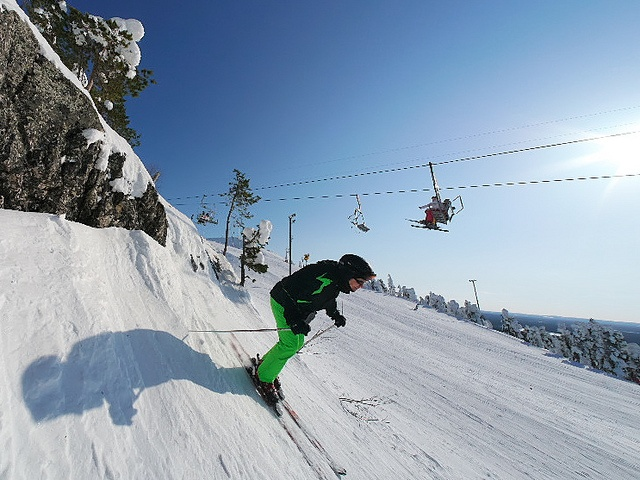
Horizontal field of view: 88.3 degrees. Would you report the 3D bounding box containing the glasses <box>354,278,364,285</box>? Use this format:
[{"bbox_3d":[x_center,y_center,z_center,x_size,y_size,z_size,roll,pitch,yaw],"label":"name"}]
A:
[{"bbox_3d":[0.688,0.752,6.530,0.109,0.132,0.040,12,-25,-25],"label":"glasses"}]
